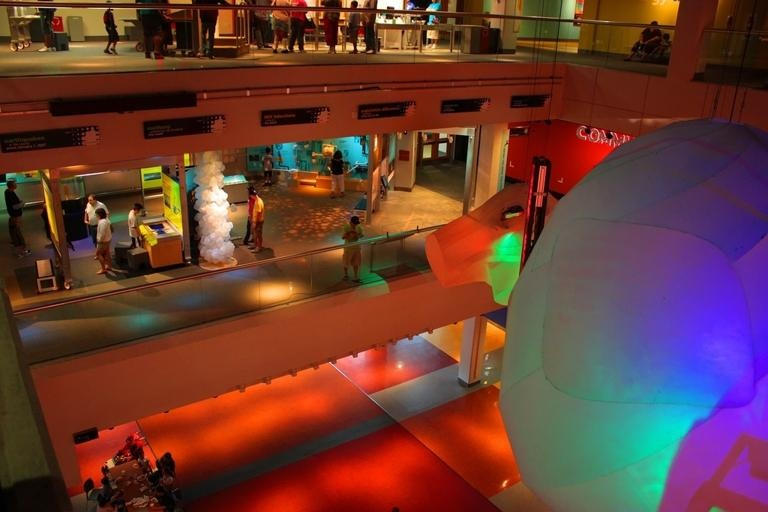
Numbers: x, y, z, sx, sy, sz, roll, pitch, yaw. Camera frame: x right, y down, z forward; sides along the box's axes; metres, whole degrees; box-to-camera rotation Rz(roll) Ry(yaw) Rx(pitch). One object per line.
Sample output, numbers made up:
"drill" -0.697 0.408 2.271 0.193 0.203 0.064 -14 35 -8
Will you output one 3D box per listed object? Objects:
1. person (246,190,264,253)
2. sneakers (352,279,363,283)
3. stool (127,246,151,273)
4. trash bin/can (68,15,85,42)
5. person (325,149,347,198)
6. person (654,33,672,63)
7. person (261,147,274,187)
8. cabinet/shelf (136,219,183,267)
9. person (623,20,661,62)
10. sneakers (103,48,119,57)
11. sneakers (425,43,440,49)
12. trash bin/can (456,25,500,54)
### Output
"person" -4.068 -1.214 16.236 0.484 1.980 0.976 -7 22 -14
"sneakers" -0.712 0.649 13.197 0.177 0.115 0.043 6 -5 -34
"stool" -6.985 0.129 14.574 0.411 0.579 0.405 -28 54 -33
"trash bin/can" -7.280 -5.380 12.084 0.389 0.550 0.330 -17 27 -35
"person" -1.971 -3.455 21.254 0.536 1.889 0.650 -3 22 -3
"person" 8.299 -6.146 15.201 0.268 0.862 0.522 5 2 23
"person" -5.092 -3.947 22.351 0.472 1.570 0.909 -6 22 -12
"cabinet/shelf" -6.521 -0.296 15.021 1.009 1.058 1.043 -16 26 -33
"person" 8.099 -6.607 15.834 0.401 0.884 1.122 -10 23 -20
"sneakers" -6.337 -4.758 11.859 0.337 0.155 0.205 -4 22 -6
"sneakers" 1.446 -6.370 15.489 0.342 0.133 0.160 -10 52 -12
"trash bin/can" 2.958 -6.994 16.463 1.143 0.728 0.610 -17 35 -30
